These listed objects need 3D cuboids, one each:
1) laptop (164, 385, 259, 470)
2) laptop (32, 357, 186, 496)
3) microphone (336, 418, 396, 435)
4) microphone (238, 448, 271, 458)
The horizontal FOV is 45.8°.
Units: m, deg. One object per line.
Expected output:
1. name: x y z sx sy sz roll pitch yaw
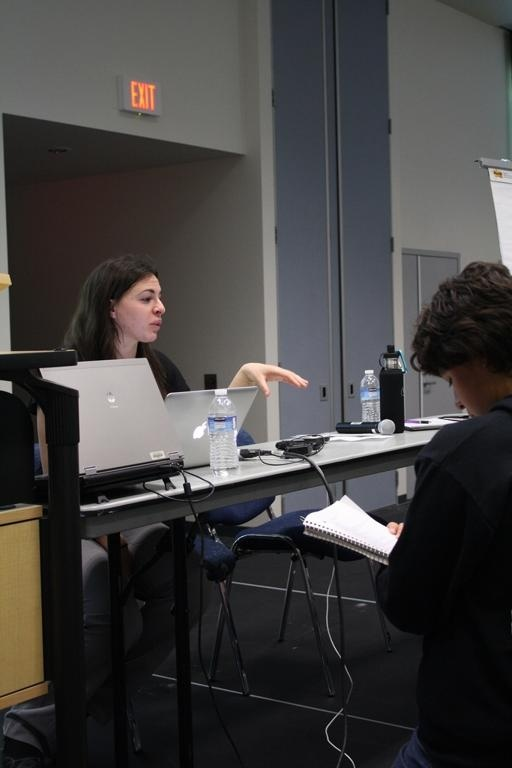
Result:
1. laptop: -0.130 0.093 1.639 0.237 0.179 0.198 -4 2 -29
2. laptop: -0.308 0.072 1.296 0.217 0.204 0.263 -1 2 37
3. microphone: 0.447 0.174 2.490 0.257 0.085 0.083 0 21 30
4. microphone: -0.006 0.214 1.888 0.126 0.037 0.043 0 4 -15
